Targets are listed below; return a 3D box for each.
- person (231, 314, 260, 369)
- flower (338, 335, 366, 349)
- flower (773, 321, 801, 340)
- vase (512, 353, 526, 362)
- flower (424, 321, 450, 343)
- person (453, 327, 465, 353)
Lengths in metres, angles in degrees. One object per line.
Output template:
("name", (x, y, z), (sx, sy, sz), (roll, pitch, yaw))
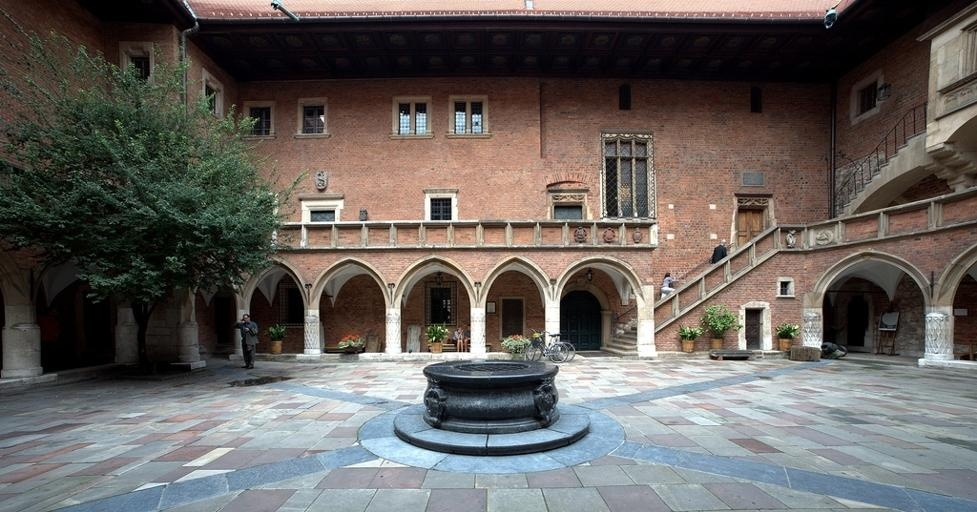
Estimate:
("person", (-11.890, 4.177, 32.091), (0.838, 2.654, 1.477), (1, -7, -21))
("flower", (-7.078, 4.573, 34.378), (1.037, 0.412, 0.909), (0, -6, 6))
("flower", (15.362, 3.911, 33.696), (1.143, 0.552, 0.956), (0, -3, -1))
("vase", (1.528, 5.029, 32.149), (0.876, 0.462, 0.738), (0, -7, 4))
("flower", (-2.802, 4.012, 34.042), (1.331, 0.984, 1.139), (0, -5, 11))
("person", (-1.463, 4.478, 33.974), (0.503, 1.051, 0.859), (-1, -6, -4))
